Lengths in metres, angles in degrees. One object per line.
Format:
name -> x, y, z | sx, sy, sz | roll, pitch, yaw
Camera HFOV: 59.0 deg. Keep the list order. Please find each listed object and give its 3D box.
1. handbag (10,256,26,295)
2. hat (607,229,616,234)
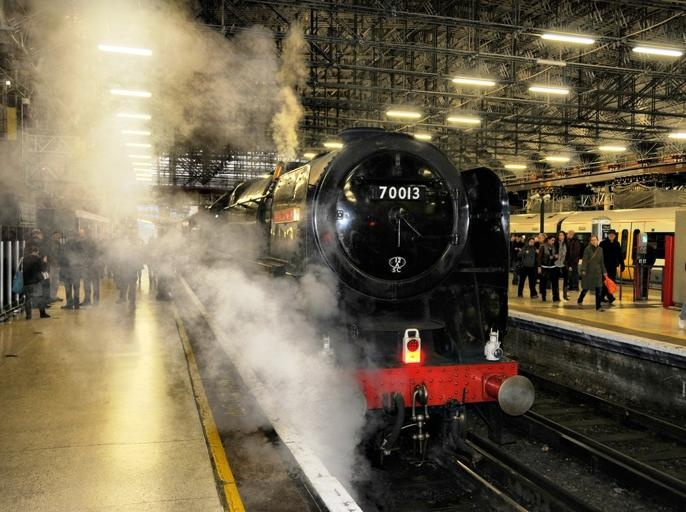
handbag -> -7.161, 0.493, 13.336 | 0.234, 0.913, 0.890 | -2, 13, -29
hat -> 6.279, -0.565, 14.206 | 0.159, 0.086, 0.242 | 0, 1, 14
